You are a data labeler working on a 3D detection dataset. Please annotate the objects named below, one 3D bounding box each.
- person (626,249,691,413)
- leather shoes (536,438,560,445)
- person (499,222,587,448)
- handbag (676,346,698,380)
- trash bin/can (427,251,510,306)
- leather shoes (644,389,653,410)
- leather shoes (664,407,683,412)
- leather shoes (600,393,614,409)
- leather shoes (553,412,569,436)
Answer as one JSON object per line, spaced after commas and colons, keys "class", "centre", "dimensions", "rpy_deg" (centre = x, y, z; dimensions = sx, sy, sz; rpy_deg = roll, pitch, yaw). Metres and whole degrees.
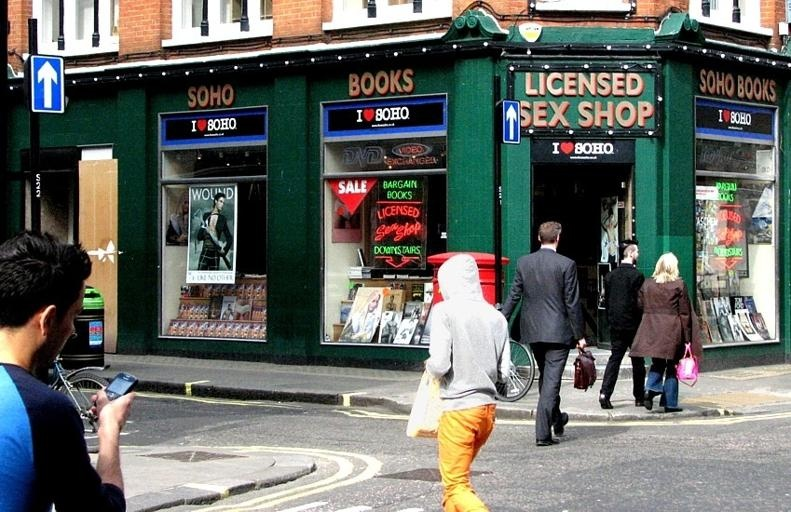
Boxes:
{"class": "person", "centre": [3.889, 1.110, 13.798], "dimensions": [0.944, 2.005, 0.441], "rpy_deg": [-1, 0, 13]}
{"class": "leather shoes", "centre": [1.904, 2.304, 11.941], "dimensions": [0.327, 0.081, 0.142], "rpy_deg": [-1, 0, -15]}
{"class": "person", "centre": [1.931, 0.956, 12.198], "dimensions": [0.649, 2.282, 0.867], "rpy_deg": [-1, 0, -35]}
{"class": "handbag", "centre": [4.118, 1.493, 13.598], "dimensions": [0.264, 0.473, 0.281], "rpy_deg": [-1, 0, 14]}
{"class": "trash bin/can", "centre": [1.114, 0.287, 15.683], "dimensions": [1.017, 0.936, 1.042], "rpy_deg": [0, -3, -2]}
{"class": "leather shoes", "centre": [3.698, 2.114, 14.047], "dimensions": [0.093, 0.289, 0.199], "rpy_deg": [0, 23, 18]}
{"class": "leather shoes", "centre": [3.997, 2.199, 13.777], "dimensions": [0.268, 0.110, 0.090], "rpy_deg": [-2, 4, -20]}
{"class": "leather shoes", "centre": [3.048, 2.106, 13.906], "dimensions": [0.110, 0.317, 0.146], "rpy_deg": [-6, 28, 26]}
{"class": "leather shoes", "centre": [2.179, 2.173, 12.511], "dimensions": [0.140, 0.198, 0.455], "rpy_deg": [-2, 2, 17]}
